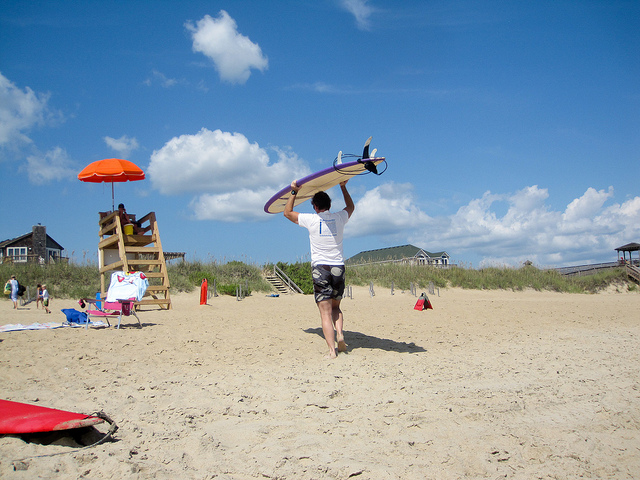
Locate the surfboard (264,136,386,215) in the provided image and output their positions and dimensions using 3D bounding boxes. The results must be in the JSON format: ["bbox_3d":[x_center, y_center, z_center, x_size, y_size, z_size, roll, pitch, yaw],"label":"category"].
[{"bbox_3d":[-0.019,-0.871,7.200,2.254,0.700,0.582,-26,-32,27],"label":"surfboard"}]

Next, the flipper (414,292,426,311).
[{"bbox_3d":[2.832,1.784,13.047,0.251,0.357,0.571,0,0,-6],"label":"flipper"}]

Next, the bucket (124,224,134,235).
[{"bbox_3d":[-5.634,-0.284,13.459,0.207,0.269,0.264,-1,-10,-7],"label":"bucket"}]

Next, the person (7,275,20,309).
[{"bbox_3d":[-9.775,1.641,14.642,0.278,0.861,2.196,0,0,-34],"label":"person"}]

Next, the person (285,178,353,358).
[{"bbox_3d":[0.011,0.462,6.858,0.948,2.648,0.521,0,0,-3],"label":"person"}]

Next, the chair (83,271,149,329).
[{"bbox_3d":[-4.481,1.376,10.047,0.943,1.338,1.072,1,-5,1],"label":"chair"}]

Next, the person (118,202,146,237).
[{"bbox_3d":[-5.234,-0.412,12.480,0.595,0.979,0.955,1,9,-3],"label":"person"}]

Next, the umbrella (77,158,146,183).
[{"bbox_3d":[-6.248,-2.039,13.670,1.388,0.693,1.222,0,0,24],"label":"umbrella"}]
